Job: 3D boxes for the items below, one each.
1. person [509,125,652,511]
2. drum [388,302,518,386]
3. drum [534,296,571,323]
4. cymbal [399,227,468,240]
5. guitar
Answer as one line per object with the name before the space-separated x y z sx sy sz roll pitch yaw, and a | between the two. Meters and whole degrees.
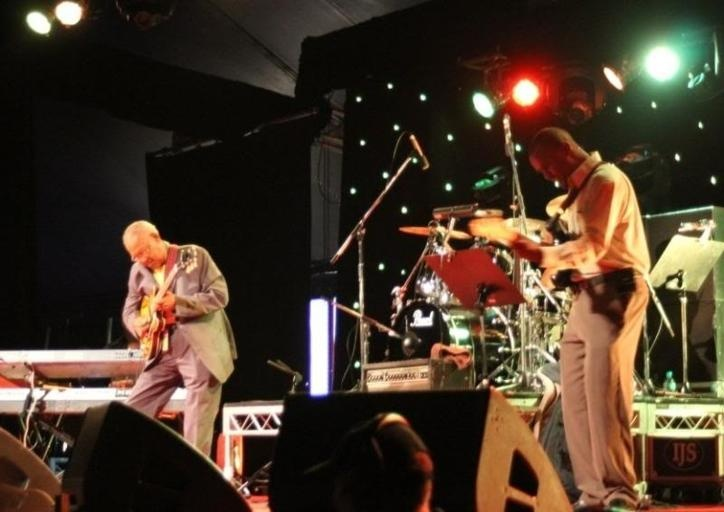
person | 1.711 0.427 6.158 0.855 2.905 0.564 -1 -7 19
drum | 0.674 0.857 8.880 0.919 0.934 1.006 14 7 36
drum | 2.002 0.570 8.535 0.288 0.221 0.284 0 -4 0
cymbal | 0.767 -0.246 8.576 0.364 0.059 0.348 6 -4 -22
guitar | -1.759 0.452 7.418 0.152 0.424 1.054 15 -54 -26
